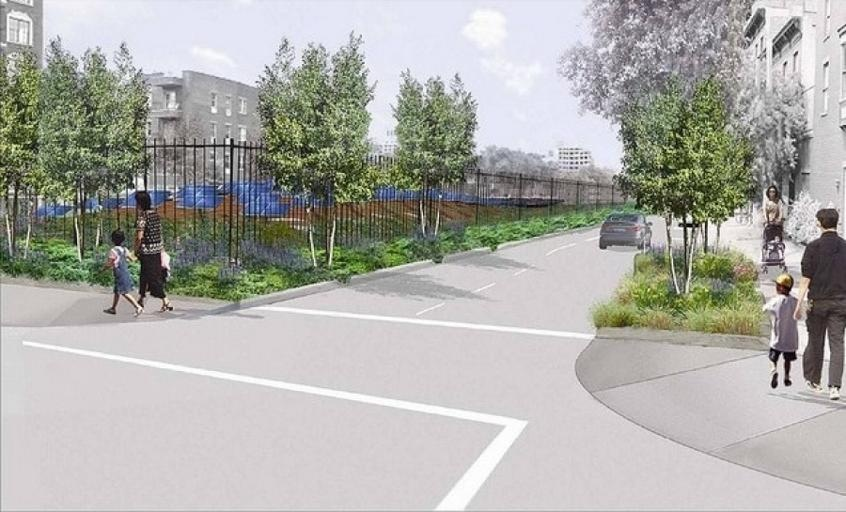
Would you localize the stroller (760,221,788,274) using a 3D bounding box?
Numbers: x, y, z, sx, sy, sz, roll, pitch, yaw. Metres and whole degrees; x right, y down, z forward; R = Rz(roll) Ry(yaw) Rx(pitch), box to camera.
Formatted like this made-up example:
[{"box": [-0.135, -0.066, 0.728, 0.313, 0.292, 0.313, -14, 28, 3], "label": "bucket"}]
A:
[{"box": [11.490, -0.262, 21.583, 1.074, 1.520, 1.011, -12, 12, -18], "label": "stroller"}]
